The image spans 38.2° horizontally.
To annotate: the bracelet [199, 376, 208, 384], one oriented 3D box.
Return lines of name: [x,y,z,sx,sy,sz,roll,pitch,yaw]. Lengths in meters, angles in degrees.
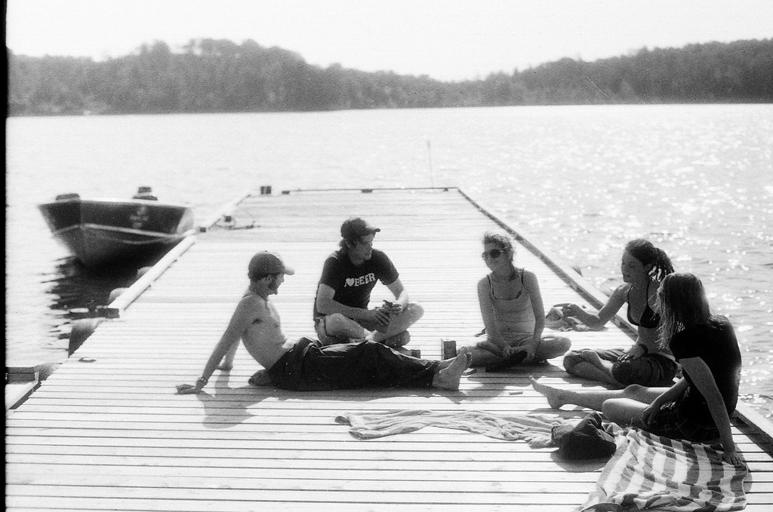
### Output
bracelet: [-2.606,1.743,15.713,0.117,0.122,0.062,-1,13,-8]

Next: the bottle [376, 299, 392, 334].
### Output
bottle: [-0.083,0.889,16.577,0.240,0.398,0.082,8,-6,-37]

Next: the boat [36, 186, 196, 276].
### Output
boat: [-6.548,-0.648,26.762,2.169,1.133,3.324,5,6,6]

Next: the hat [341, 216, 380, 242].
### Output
hat: [-0.422,-0.422,16.410,0.486,0.245,0.312,-16,14,6]
